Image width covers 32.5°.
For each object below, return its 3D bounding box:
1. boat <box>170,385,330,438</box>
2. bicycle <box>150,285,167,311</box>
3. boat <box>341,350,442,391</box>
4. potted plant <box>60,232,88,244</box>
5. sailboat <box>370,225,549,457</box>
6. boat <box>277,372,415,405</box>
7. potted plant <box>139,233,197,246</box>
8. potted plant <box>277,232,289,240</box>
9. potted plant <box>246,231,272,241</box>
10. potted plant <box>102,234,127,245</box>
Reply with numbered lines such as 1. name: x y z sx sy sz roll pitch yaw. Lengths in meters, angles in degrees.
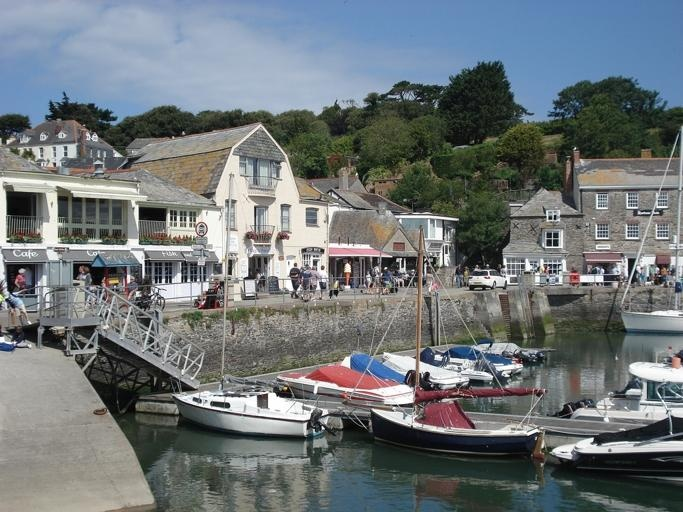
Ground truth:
1. boat: -4.533 7.937 56.760 7.474 2.042 2.690 4 -4 16
2. bicycle: -9.961 2.399 63.312 1.073 1.117 1.724 -1 0 -16
3. boat: 2.246 5.989 60.292 3.778 0.772 2.122 18 3 7
4. potted plant: -15.647 -1.041 67.739 0.800 0.753 1.704 0 -2 36
5. sailboat: 5.428 4.126 55.351 7.495 10.478 3.458 0 -1 33
6. boat: 0.570 6.937 58.649 7.664 2.014 2.289 4 2 21
7. potted plant: -10.763 -0.951 71.600 3.841 0.741 0.527 2 -2 -42
8. potted plant: -4.023 -1.364 80.341 0.510 0.583 1.430 0 -1 22
9. potted plant: -5.623 -1.253 78.174 0.670 0.674 2.464 0 -2 29
10. potted plant: -13.603 -0.960 69.410 0.612 0.715 1.576 0 -2 42
